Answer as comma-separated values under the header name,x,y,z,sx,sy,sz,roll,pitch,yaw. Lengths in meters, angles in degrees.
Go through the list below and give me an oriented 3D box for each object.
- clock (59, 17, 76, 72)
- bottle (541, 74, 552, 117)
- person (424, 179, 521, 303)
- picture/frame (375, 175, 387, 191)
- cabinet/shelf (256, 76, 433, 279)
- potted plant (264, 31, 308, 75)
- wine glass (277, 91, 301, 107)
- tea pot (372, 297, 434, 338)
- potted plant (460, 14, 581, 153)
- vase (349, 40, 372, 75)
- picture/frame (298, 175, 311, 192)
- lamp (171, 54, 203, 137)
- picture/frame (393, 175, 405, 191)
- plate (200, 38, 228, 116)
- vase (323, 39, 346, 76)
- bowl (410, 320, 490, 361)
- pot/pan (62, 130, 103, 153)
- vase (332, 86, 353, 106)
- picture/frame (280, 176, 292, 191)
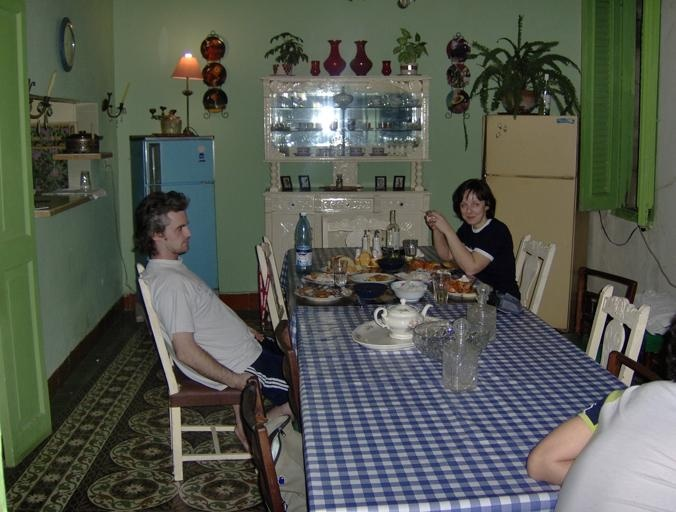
name,x,y,z,sx,sy,sz,roll,pitch,yaw
clock,-2.073,-1.621,4.161,0.075,0.409,0.423,-3,13,-17
bottle,1.930,-1.504,5.034,0.068,0.400,0.630,5,13,21
person,0.868,0.062,3.416,0.530,1.062,0.439,-6,14,-9
picture/frame,0.437,-0.762,5.662,0.164,0.234,0.019,-2,13,-6
cabinet/shelf,0.045,-0.807,5.073,1.862,2.257,0.598,-1,8,-3
potted plant,-0.477,-2.000,5.463,0.449,0.422,0.428,9,16,39
wine glass,-0.497,-1.566,5.477,0.237,0.141,0.165,-2,6,-15
tea pot,0.266,0.262,2.319,0.233,0.150,0.157,-1,4,-5
potted plant,1.651,-1.587,5.217,1.315,1.102,1.037,-2,11,-11
vase,0.235,-1.997,5.478,0.227,0.358,0.235,1,12,3
picture/frame,-0.357,-0.756,5.631,0.148,0.185,0.102,-6,18,-13
lamp,-1.489,-1.620,5.358,0.274,0.821,0.546,-2,13,-15
picture/frame,0.625,-0.757,5.636,0.172,0.210,0.014,-1,17,-2
plate,-1.255,-1.837,5.486,0.245,0.798,0.228,-1,12,-8
vase,-0.038,-2.003,5.487,0.232,0.363,0.237,0,12,-2
bowl,0.409,0.330,2.166,0.251,0.098,0.264,0,3,0
pot/pan,-1.914,-0.845,4.040,0.244,0.156,0.214,-6,14,-28
vase,0.043,-1.617,5.487,0.167,0.230,0.182,5,16,12
picture/frame,-0.545,-0.746,5.581,0.124,0.150,0.054,-17,24,-20
